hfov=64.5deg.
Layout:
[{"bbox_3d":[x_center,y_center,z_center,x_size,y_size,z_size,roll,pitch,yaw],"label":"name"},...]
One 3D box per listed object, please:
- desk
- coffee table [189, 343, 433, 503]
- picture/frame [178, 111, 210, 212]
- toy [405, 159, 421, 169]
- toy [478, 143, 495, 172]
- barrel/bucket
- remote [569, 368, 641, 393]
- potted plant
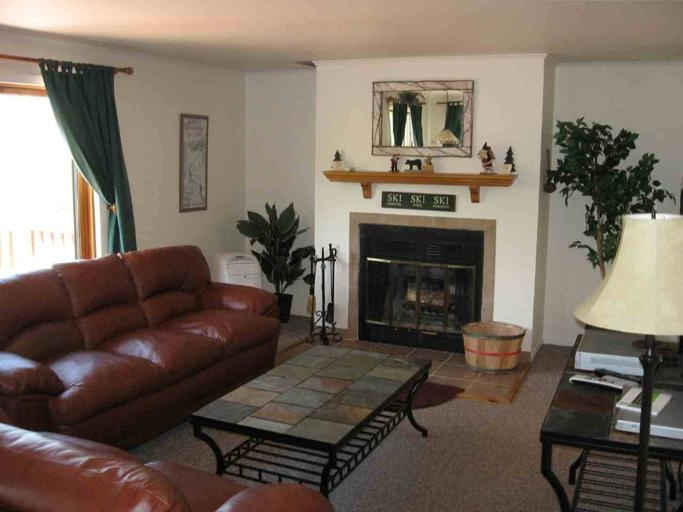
[{"bbox_3d":[1.202,0.770,2.495,0.480,0.315,1.192,3,11,21],"label":"desk"},{"bbox_3d":[-0.089,1.056,3.476,0.914,0.520,1.457,2,7,27],"label":"coffee table"},{"bbox_3d":[-1.651,-1.030,6.066,0.093,1.064,0.498,5,12,22],"label":"picture/frame"},{"bbox_3d":[0.713,-0.897,5.363,0.157,0.111,0.110,2,11,4],"label":"toy"},{"bbox_3d":[1.373,-0.930,5.123,0.149,0.286,0.246,4,11,17],"label":"toy"},{"bbox_3d":[1.414,0.840,5.018,0.460,0.299,0.475,-2,2,0],"label":"barrel/bucket"},{"bbox_3d":[1.389,0.662,2.867,0.217,0.047,0.137,3,6,14],"label":"remote"},{"bbox_3d":[-0.838,0.098,6.427,0.865,1.415,0.847,-2,4,-38],"label":"potted plant"}]
